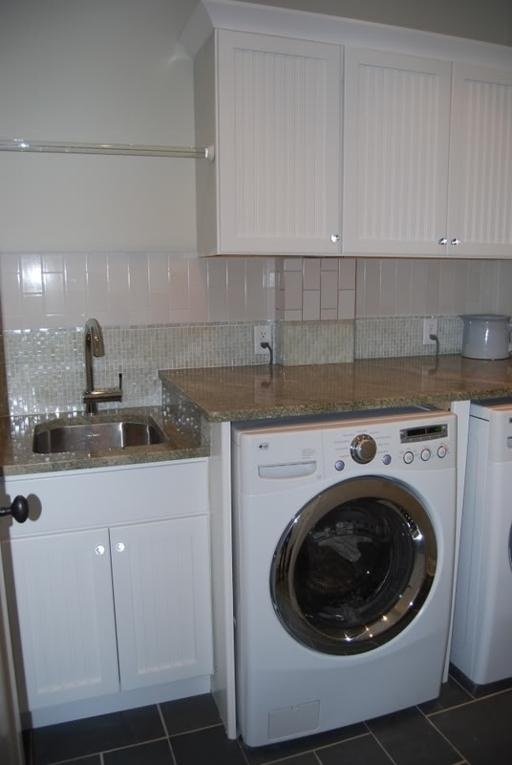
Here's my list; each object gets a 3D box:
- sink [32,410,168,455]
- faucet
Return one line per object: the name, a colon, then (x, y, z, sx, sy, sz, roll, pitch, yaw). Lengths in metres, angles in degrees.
sink: (-0.500, 0.179, 1.853, 0.380, 0.117, 0.303, -3, 11, -16)
faucet: (-0.484, -0.043, 1.847, 0.136, 0.332, 0.393, -3, 11, -16)
